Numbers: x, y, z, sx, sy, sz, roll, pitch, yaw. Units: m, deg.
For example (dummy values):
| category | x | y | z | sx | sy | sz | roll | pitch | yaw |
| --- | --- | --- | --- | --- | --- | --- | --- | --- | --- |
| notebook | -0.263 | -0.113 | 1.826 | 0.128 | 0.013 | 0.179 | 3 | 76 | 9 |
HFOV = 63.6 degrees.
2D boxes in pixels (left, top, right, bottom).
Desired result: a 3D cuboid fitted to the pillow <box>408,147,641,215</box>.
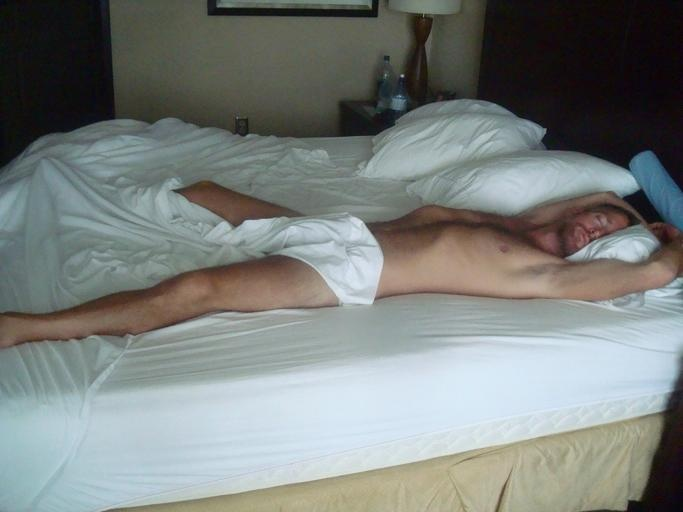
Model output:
| category | x | y | z | sx | sy | sz | roll | pitch | yaw |
| --- | --- | --- | --- | --- | --- | --- | --- | --- | --- |
| pillow | 0.764 | -0.314 | 2.282 | 0.533 | 0.128 | 0.397 | -6 | 41 | 0 |
